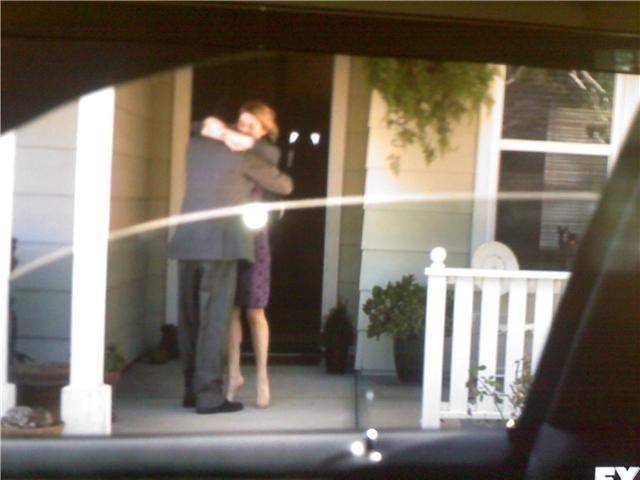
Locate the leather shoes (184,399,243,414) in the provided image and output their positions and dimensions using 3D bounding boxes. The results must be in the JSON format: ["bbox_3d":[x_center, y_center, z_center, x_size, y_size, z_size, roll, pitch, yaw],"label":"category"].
[{"bbox_3d":[-0.358,0.548,3.344,0.190,0.068,0.066,-2,-9,-12],"label":"leather shoes"}]

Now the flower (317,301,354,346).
[{"bbox_3d":[0.060,0.285,3.300,0.108,0.153,0.025,4,3,-2],"label":"flower"}]

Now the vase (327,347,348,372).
[{"bbox_3d":[0.052,0.395,3.324,0.075,0.063,0.083,8,-13,-34],"label":"vase"}]

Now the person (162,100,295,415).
[{"bbox_3d":[-0.303,0.068,3.267,0.387,1.030,0.104,4,3,-4],"label":"person"}]

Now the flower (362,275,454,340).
[{"bbox_3d":[0.294,0.208,3.381,0.250,0.192,0.238,4,1,26],"label":"flower"}]

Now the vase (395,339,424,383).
[{"bbox_3d":[0.304,0.413,3.397,0.128,0.140,0.136,-4,-10,44],"label":"vase"}]
